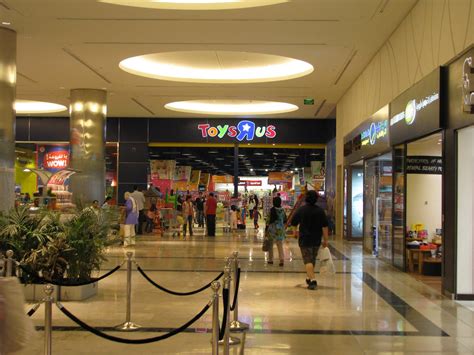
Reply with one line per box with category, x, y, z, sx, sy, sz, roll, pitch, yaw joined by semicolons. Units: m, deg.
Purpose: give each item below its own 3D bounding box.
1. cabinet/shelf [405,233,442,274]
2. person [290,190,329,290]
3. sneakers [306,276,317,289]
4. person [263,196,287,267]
cabinet/shelf;3.840;1.536;8.266;0.643;0.844;0.800;0;-3;23
person;1.261;1.062;6.956;0.607;1.664;0.431;1;-3;6
sneakers;1.275;1.810;6.829;0.181;0.173;0.262;0;-3;10
person;0.888;1.199;9.112;0.468;1.559;1.272;0;-3;6
